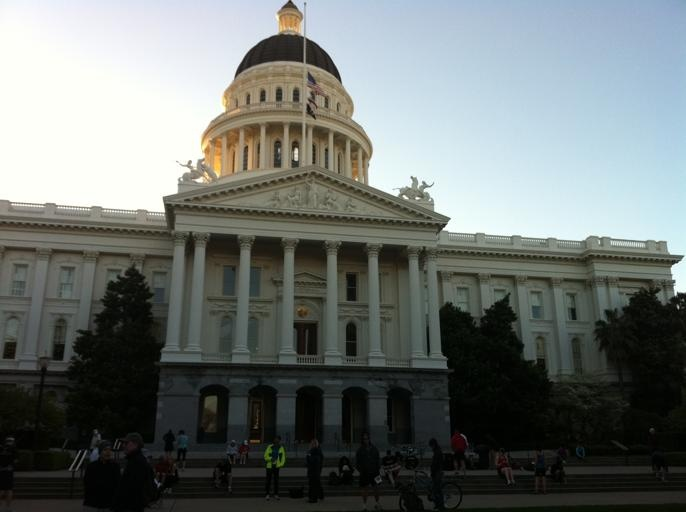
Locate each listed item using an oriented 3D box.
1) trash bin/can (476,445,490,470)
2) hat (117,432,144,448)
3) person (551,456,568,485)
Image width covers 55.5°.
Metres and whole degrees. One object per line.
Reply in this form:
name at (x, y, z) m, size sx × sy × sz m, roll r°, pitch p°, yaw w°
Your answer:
trash bin/can at (8.258, 11.815, 38.209) m, size 0.774 × 1.220 × 0.770 m, roll -4°, pitch -17°, yaw 9°
hat at (-5.368, 4.722, 16.635) m, size 0.454 × 0.351 × 0.782 m, roll 5°, pitch -17°, yaw -20°
person at (10.499, 10.440, 31.874) m, size 0.663 × 1.269 × 1.387 m, roll -6°, pitch -17°, yaw 16°
